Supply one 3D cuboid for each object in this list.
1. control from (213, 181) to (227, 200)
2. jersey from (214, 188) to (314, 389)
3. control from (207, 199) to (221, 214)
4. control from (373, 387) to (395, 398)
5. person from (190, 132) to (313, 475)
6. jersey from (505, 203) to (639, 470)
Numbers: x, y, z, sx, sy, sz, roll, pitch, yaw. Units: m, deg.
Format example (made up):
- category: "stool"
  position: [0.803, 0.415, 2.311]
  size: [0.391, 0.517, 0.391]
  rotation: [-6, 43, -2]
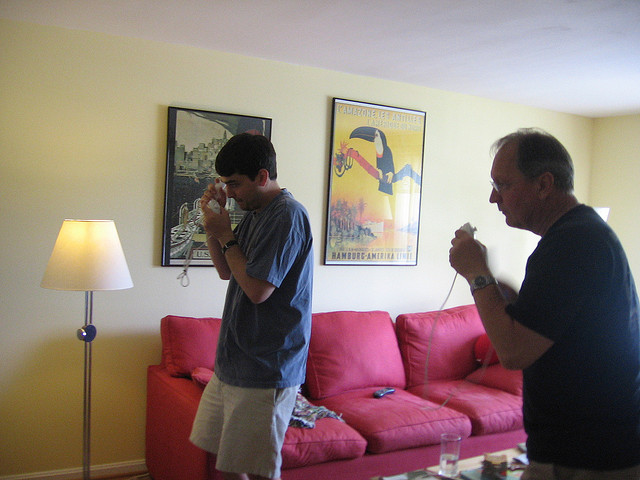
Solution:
- category: "control"
  position: [-0.459, -0.224, 2.324]
  size: [0.034, 0.030, 0.116]
  rotation: [25, 25, 3]
- category: "jersey"
  position: [-0.245, 0.200, 2.129]
  size: [0.368, 0.804, 0.273]
  rotation: [5, 5, 32]
- category: "control"
  position: [-0.466, -0.143, 2.261]
  size: [0.049, 0.067, 0.019]
  rotation: [-41, -19, 11]
- category: "control"
  position: [0.421, 1.032, 3.451]
  size: [0.098, 0.033, 0.053]
  rotation: [-5, -4, -44]
- category: "person"
  position: [-0.312, 0.245, 2.172]
  size: [0.494, 1.383, 0.338]
  rotation: [6, 5, 42]
- category: "jersey"
  position: [0.772, 0.331, 1.537]
  size: [0.416, 0.754, 0.122]
  rotation: [3, 4, 9]
